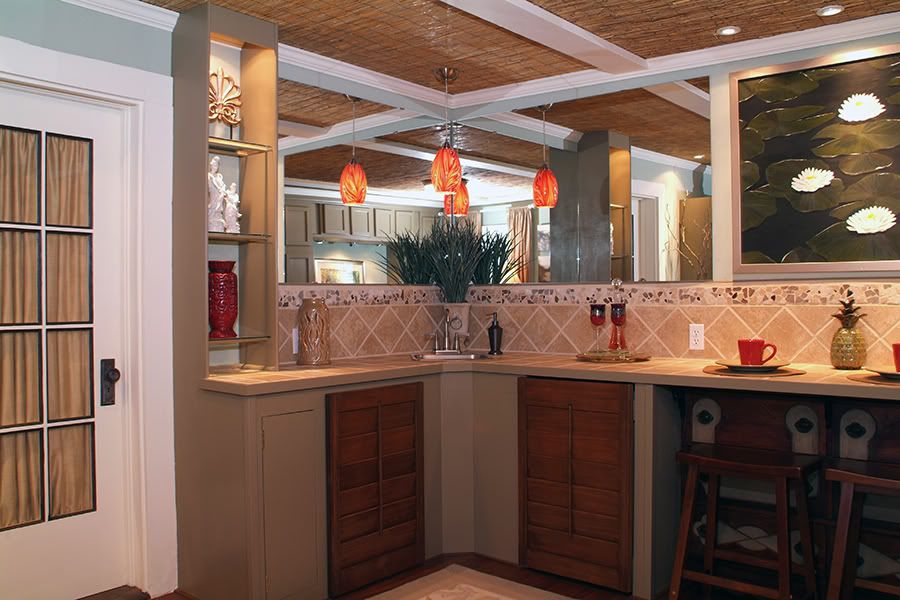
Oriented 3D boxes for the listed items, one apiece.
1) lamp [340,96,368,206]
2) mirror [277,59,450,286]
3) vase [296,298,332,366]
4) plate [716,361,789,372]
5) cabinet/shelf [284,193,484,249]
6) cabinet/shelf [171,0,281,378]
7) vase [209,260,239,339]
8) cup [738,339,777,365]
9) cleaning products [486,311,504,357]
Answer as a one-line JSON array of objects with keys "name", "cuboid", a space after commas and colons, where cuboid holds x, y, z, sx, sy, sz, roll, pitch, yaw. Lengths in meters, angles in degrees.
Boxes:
[{"name": "lamp", "cuboid": [-0.705, -1.054, 4.712, 0.083, 0.785, 0.221, 0, 4, 30]}, {"name": "mirror", "cuboid": [-0.668, -0.909, 4.736, 1.610, 1.505, 0.368, 0, -3, -4]}, {"name": "vase", "cuboid": [-0.905, 0.209, 4.361, 0.210, 0.430, 0.194, -3, 3, -14]}, {"name": "plate", "cuboid": [1.775, 0.384, 3.893, 0.383, 0.051, 0.338, -1, 3, 19]}, {"name": "cabinet/shelf", "cuboid": [-0.639, -0.556, 4.819, 1.209, 0.262, 0.151, 0, 10, -18]}, {"name": "cabinet/shelf", "cuboid": [-1.358, -0.636, 4.037, 0.675, 2.144, 0.359, -4, 4, -32]}, {"name": "vase", "cuboid": [-1.365, -0.004, 4.023, 0.132, 0.465, 0.264, -1, 3, 12]}, {"name": "cup", "cuboid": [1.842, 0.302, 3.954, 0.262, 0.172, 0.167, 1, -4, -7]}, {"name": "cleaning products", "cuboid": [0.338, 0.245, 5.004, 0.109, 0.310, 0.377, -2, 3, 5]}]
